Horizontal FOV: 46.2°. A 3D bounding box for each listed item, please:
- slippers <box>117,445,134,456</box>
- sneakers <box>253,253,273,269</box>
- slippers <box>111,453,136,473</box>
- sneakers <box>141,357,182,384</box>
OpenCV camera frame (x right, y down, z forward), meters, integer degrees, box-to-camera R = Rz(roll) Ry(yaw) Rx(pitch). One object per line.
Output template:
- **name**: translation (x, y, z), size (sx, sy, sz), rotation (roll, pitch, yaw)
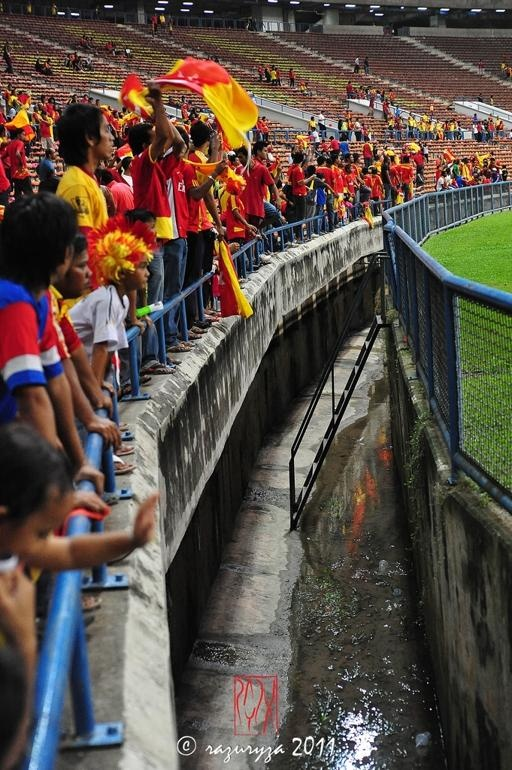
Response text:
- **slippers**: translation (-0.726, 0.361, 3.337), size (0.085, 0.038, 0.041), rotation (-12, 26, -2)
- **sneakers**: translation (0.132, -2.338, 11.199), size (0.225, 0.209, 0.563), rotation (-2, 20, 17)
- **slippers**: translation (-0.704, 0.418, 3.211), size (0.107, 0.079, 0.177), rotation (1, 9, -13)
- **sneakers**: translation (-0.756, -0.114, 4.865), size (0.319, 0.135, 0.126), rotation (-9, 14, -2)
